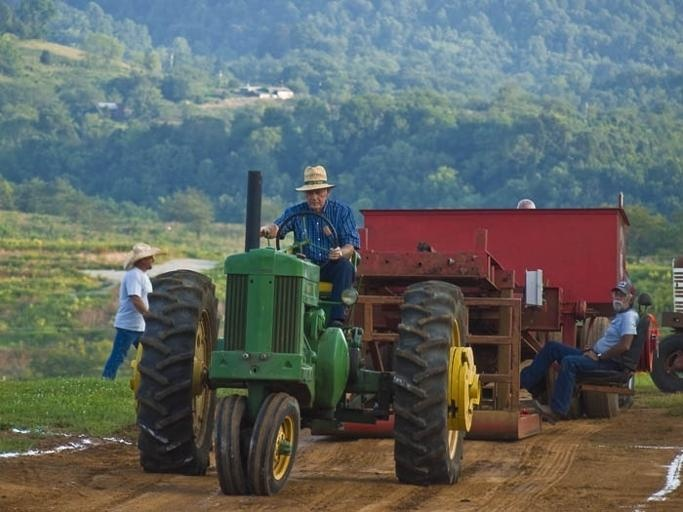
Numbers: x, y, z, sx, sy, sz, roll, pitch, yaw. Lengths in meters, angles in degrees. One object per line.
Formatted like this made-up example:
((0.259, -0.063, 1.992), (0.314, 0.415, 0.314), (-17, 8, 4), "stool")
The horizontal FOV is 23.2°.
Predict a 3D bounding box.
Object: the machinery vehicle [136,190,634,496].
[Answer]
((1.684, 4.130, 82.609), (23.383, 13.969, 8.575), (-4, 15, -22), "machinery vehicle")
